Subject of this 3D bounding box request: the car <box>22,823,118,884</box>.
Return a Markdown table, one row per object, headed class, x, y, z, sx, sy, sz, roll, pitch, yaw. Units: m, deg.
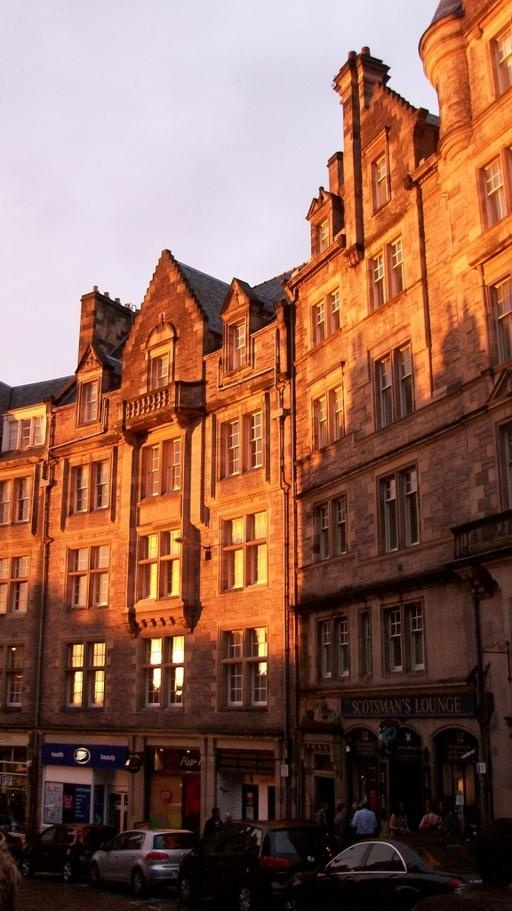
| class | x | y | z | sx | sy | sz | roll | pitch | yaw |
| --- | --- | --- | --- | --- | --- | --- | --- | --- | --- |
| car | -5.446 | 11.735 | 23.986 | 2.874 | 1.562 | 1.692 | -20 | -34 | 38 |
